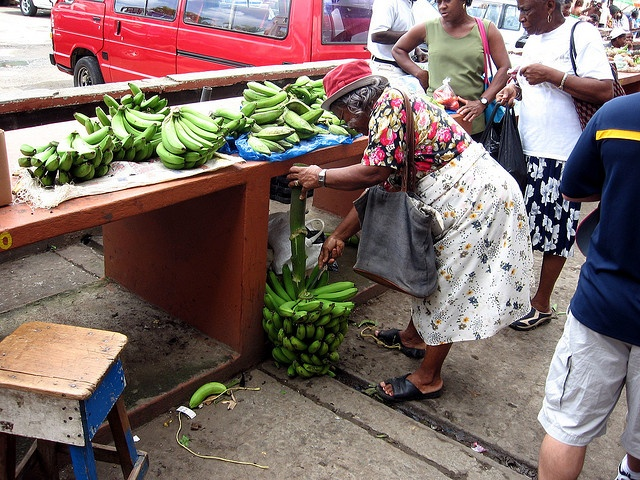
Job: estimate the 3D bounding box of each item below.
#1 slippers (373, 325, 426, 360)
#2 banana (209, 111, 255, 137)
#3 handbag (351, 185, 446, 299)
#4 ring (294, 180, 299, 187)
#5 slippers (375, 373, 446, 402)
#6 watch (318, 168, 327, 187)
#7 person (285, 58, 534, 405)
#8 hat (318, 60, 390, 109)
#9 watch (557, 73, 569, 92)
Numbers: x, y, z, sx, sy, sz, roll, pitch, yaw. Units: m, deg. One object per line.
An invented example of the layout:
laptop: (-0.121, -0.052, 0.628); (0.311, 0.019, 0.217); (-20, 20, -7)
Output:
slippers: (0.584, 0.753, 3.493); (0.396, 0.156, 0.147); (23, 29, 23)
banana: (-0.555, -0.724, 2.887); (0.112, 0.148, 0.301); (2, 11, -43)
handbag: (0.455, -0.009, 2.608); (0.310, 0.648, 0.641); (-26, 37, -36)
ring: (-0.141, -0.343, 2.777); (0.021, 0.043, 0.057); (-9, 17, -31)
slippers: (0.592, 0.958, 2.963); (0.389, 0.121, 0.163); (-1, 20, -7)
watch: (0.014, -0.353, 2.634); (0.052, 0.091, 0.090); (2, 5, 6)
person: (0.626, -0.167, 2.619); (1.305, 1.523, 0.442); (7, 26, 11)
hat: (0.164, -0.810, 2.411); (0.252, 0.097, 0.216); (-30, 2, 4)
watch: (1.710, -1.105, 3.258); (0.025, 0.092, 0.093); (25, -12, 5)
